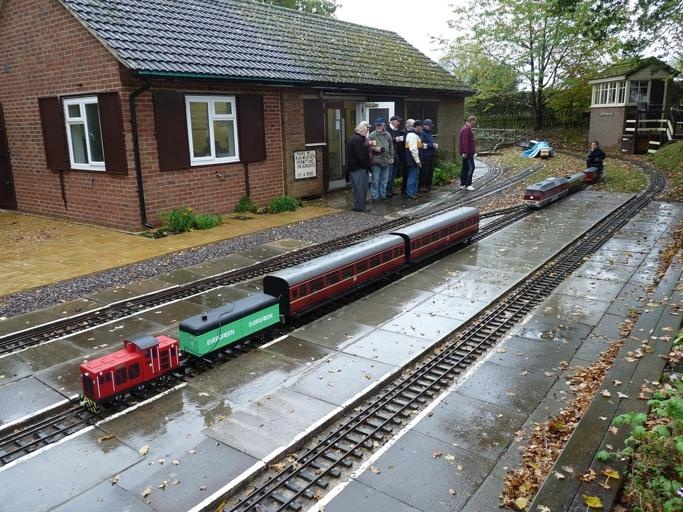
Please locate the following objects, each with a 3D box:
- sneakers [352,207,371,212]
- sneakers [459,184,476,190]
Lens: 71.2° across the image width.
[{"bbox_3d":[0.663,-1.615,16.203,0.602,0.205,0.183,2,15,10],"label":"sneakers"},{"bbox_3d":[5.123,-2.802,19.415,0.644,0.226,0.218,-5,29,5],"label":"sneakers"}]
